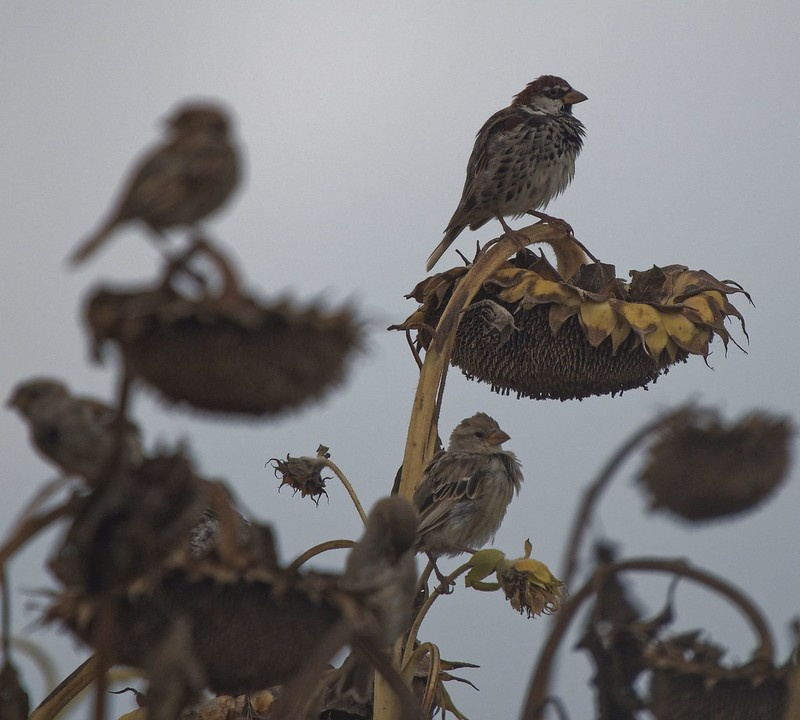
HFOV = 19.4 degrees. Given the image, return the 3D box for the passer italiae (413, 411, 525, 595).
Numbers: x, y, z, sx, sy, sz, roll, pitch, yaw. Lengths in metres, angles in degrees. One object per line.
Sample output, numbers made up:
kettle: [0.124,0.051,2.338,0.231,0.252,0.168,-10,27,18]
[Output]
passer italiae: [0.079,0.182,3.051,0.105,0.211,0.203,13,9,17]

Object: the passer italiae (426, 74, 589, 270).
passer italiae: [0.154,-0.254,3.216,0.190,0.288,0.105,10,8,-3]
